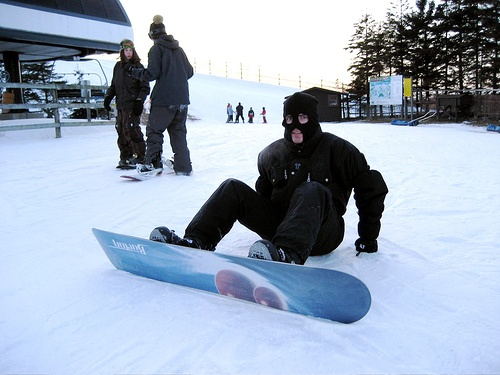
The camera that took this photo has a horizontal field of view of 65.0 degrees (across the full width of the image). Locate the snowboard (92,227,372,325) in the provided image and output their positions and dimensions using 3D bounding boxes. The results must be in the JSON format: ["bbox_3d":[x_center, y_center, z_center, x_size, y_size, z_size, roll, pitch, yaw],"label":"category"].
[{"bbox_3d":[-0.134,0.564,2.548,1.768,0.323,0.072,10,20,5],"label":"snowboard"}]

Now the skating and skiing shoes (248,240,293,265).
[{"bbox_3d":[0.118,0.374,2.525,0.299,0.141,0.431,-1,9,1],"label":"skating and skiing shoes"}]

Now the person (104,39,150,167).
[{"bbox_3d":[-1.942,-1.330,6.286,0.735,1.889,0.575,10,14,28],"label":"person"}]

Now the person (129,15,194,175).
[{"bbox_3d":[-1.340,-1.438,6.168,1.016,2.337,0.785,-7,17,-33],"label":"person"}]
